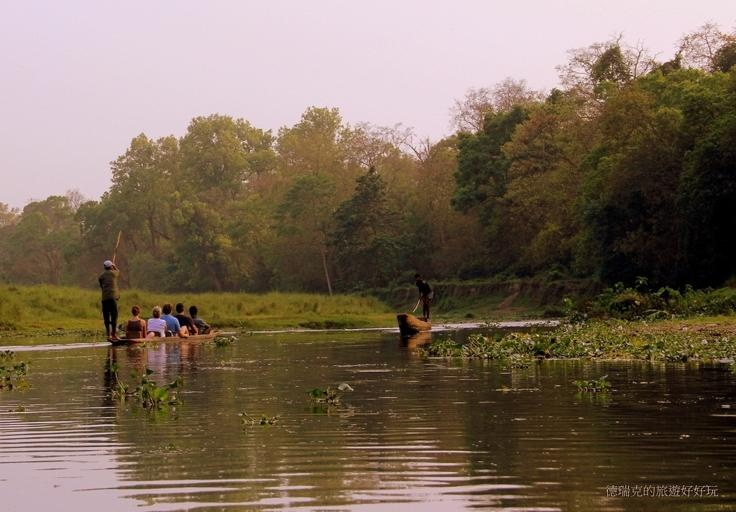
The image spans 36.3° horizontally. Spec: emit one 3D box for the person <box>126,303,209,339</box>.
[{"bbox_3d":[-7.427,2.456,40.791,1.126,0.970,3.710,-1,-3,23],"label":"person"}]

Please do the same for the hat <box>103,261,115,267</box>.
[{"bbox_3d":[-9.923,0.302,43.118,0.534,0.155,0.484,-2,8,-5],"label":"hat"}]
